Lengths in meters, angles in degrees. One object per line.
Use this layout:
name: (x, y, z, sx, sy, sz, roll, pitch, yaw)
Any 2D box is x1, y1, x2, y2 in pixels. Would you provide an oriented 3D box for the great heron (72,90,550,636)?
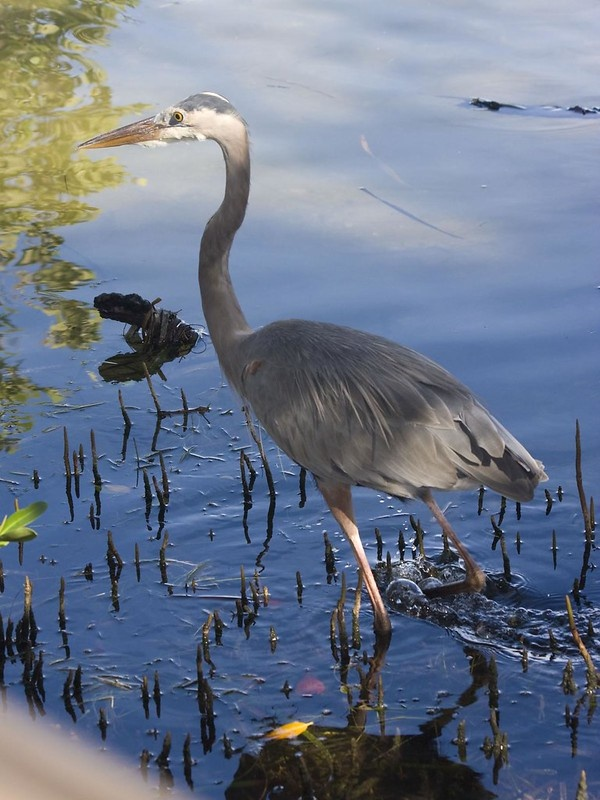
great heron: (0.203, -0.286, 4.981, 0.868, 2.580, 2.165, -12, 17, -23)
